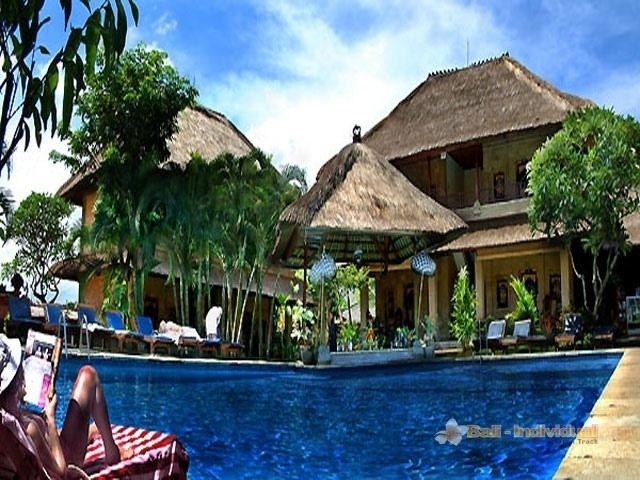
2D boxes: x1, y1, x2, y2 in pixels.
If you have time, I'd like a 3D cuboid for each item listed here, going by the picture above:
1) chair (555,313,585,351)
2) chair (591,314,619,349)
[{"bbox_3d":[6.966,2.547,16.724,0.541,0.965,0.939,-6,-2,40],"label":"chair"},{"bbox_3d":[7.961,2.480,16.836,0.684,1.009,1.029,-9,-22,31],"label":"chair"}]
